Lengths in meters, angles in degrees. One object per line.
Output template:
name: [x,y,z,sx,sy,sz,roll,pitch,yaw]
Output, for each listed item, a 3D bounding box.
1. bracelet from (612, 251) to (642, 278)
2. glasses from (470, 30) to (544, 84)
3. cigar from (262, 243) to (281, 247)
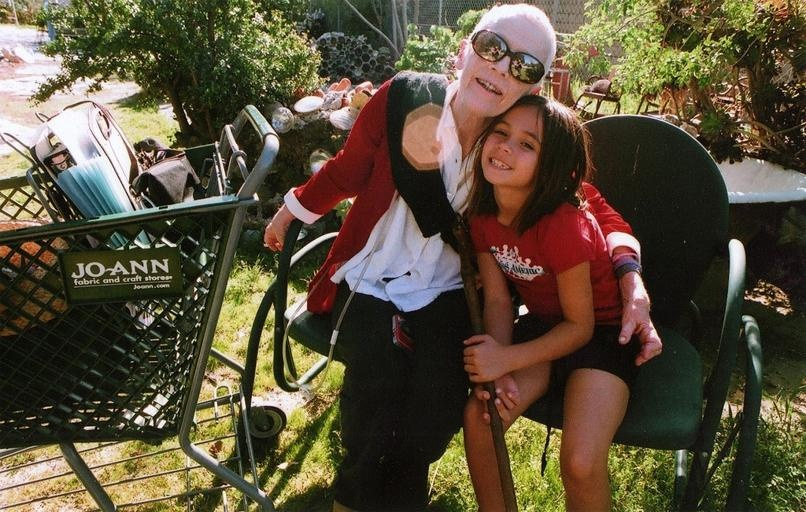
bracelet: [0.962,0.041,2.398,0.095,0.099,0.111,2,-6,14]
glasses: [0.442,-0.840,2.375,0.302,0.228,0.080,0,29,14]
cigar: [-0.672,-0.057,2.861,0.059,0.023,0.063,4,-2,-14]
